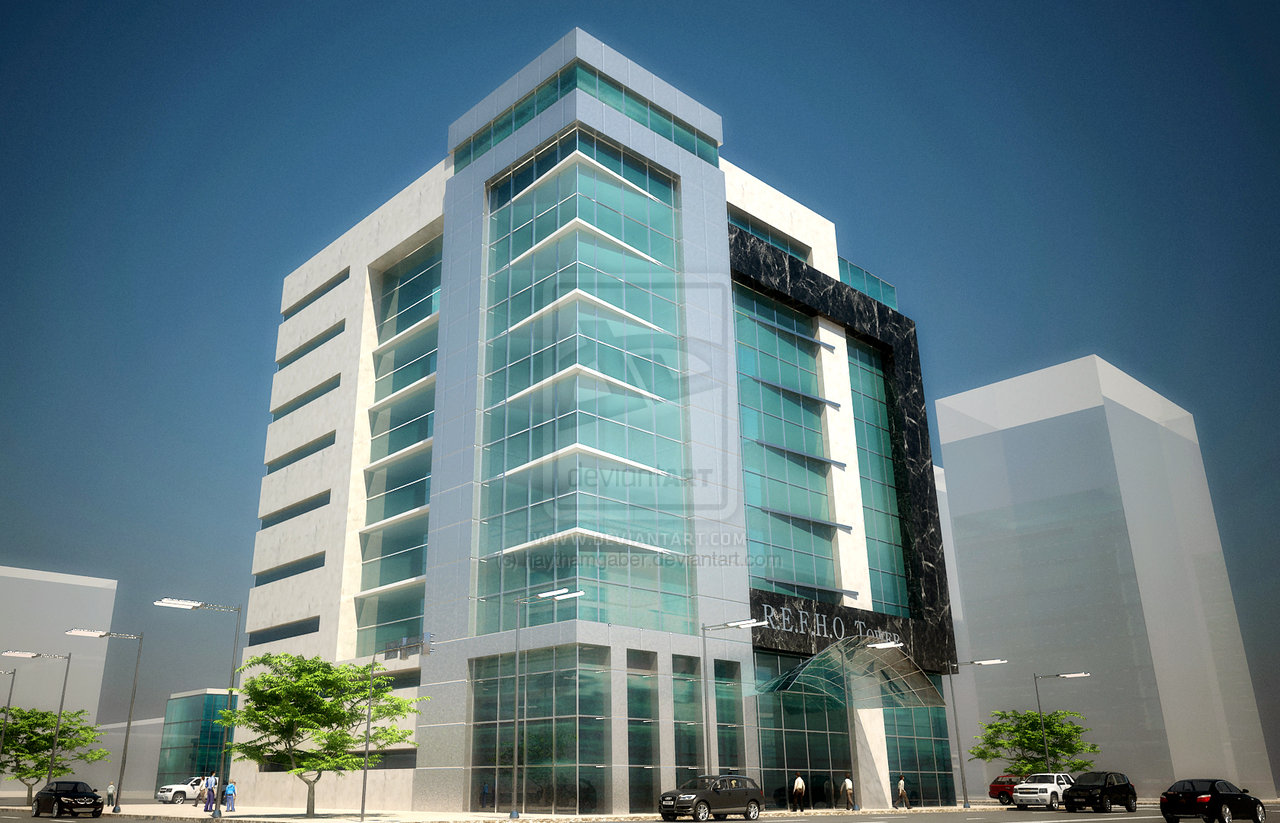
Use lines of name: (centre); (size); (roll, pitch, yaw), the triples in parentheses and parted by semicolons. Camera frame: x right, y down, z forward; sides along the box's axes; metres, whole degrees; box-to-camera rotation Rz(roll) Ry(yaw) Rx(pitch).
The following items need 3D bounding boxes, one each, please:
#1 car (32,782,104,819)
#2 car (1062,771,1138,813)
car: (-36.469, 24.670, 55.907); (4.223, 1.985, 1.853); (-9, -26, 16)
car: (29.219, 24.367, 56.234); (4.975, 2.344, 2.736); (21, -33, -40)
